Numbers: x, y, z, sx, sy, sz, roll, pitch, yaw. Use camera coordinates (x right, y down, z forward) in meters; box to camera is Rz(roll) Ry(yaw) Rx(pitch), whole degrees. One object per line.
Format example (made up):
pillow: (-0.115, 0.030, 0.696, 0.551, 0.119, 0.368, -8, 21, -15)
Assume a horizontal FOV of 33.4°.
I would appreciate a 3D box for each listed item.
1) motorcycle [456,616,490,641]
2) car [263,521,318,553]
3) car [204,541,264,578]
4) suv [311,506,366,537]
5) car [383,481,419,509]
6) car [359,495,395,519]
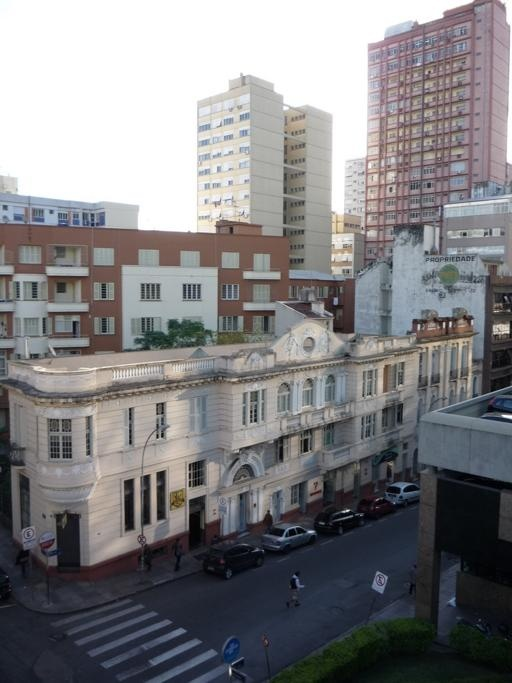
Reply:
motorcycle: (10.150, 13.428, 40.003, 1.185, 0.674, 0.762, -5, 4, -7)
car: (1.927, 12.328, 53.671, 3.414, 1.438, 1.432, -5, 11, -42)
car: (-1.356, 12.444, 49.244, 2.901, 1.175, 1.575, -8, 8, -42)
suv: (5.548, 12.068, 57.641, 3.139, 1.015, 1.334, -7, 8, -43)
car: (11.062, 11.663, 64.633, 1.541, 1.089, 2.553, 5, 11, 44)
car: (8.499, 11.914, 61.281, 1.279, 1.006, 2.237, 6, 15, 44)
